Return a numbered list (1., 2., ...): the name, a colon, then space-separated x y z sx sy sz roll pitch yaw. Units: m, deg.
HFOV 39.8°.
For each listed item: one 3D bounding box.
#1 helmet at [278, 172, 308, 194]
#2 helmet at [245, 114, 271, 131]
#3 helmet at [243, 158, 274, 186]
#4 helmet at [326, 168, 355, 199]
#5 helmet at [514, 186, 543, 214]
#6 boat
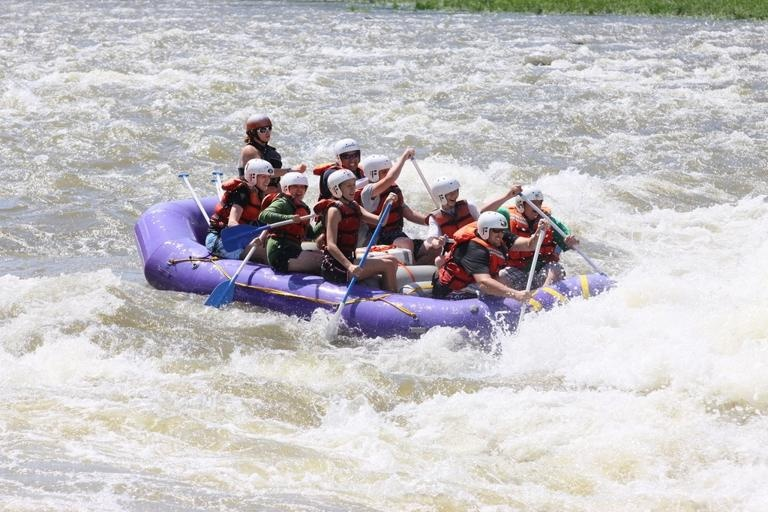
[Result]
1. helmet: -1.252 -1.021 14.204 0.361 0.216 0.258 3 3 39
2. helmet: -1.837 -1.951 15.410 0.345 0.150 0.286 -2 6 10
3. helmet: -1.807 -1.177 14.627 0.435 0.297 0.324 -33 -18 31
4. helmet: -0.567 -0.950 13.818 0.343 0.380 0.156 -1 22 -4
5. helmet: 1.888 -0.757 13.874 0.346 0.289 0.239 1 21 2
6. boat: -0.908 0.391 14.085 4.642 0.593 2.453 8 12 24
